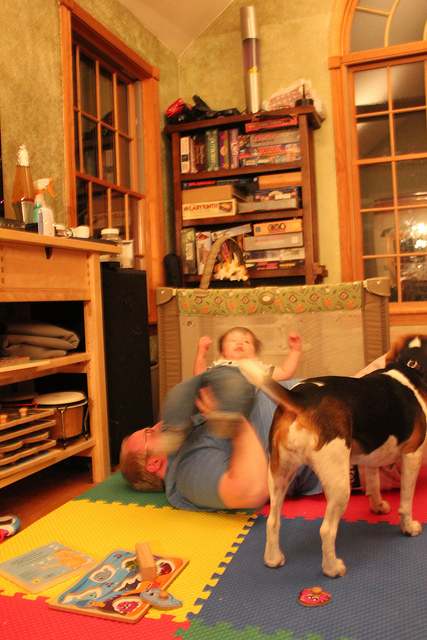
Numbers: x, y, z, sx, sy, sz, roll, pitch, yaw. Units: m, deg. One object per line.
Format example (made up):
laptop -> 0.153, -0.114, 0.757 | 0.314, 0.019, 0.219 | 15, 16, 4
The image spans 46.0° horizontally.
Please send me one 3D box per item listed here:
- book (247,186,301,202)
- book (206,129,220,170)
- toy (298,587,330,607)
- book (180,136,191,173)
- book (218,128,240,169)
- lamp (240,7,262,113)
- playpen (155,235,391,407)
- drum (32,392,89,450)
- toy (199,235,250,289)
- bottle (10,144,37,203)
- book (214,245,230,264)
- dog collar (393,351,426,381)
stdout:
book -> 0.362, -0.712, 2.890 | 0.262, 0.067, 0.108 | -4, -2, 15
book -> -0.004, -1.017, 3.021 | 0.089, 0.237, 0.249 | -1, -2, 1
toy -> 0.178, 0.490, 0.895 | 0.056, 0.021, 0.048 | -4, -2, 18
book -> -0.172, -1.004, 3.065 | 0.080, 0.211, 0.220 | 0, 2, 1
book -> 0.092, -1.021, 3.002 | 0.131, 0.163, 0.020 | -4, -2, 21
lamp -> 0.232, -1.563, 3.074 | 0.105, 0.461, 0.168 | -4, -2, 6
playpen -> 0.269, 0.014, 2.052 | 0.639, 0.497, 0.639 | 1, -1, 12
drum -> -0.520, 0.341, 1.721 | 0.171, 0.155, 0.180 | -6, -1, 12
toy -> 0.071, -0.313, 2.730 | 0.254, 0.286, 0.193 | -3, -5, -3
bottle -> -0.653, -0.486, 1.722 | 0.079, 0.219, 0.173 | -3, -2, -21
book -> 0.027, -0.358, 2.807 | 0.030, 0.096, 0.068 | -30, -2, -41
dog collar -> 0.448, 0.105, 1.147 | 0.022, 0.043, 0.061 | -37, 18, 13
